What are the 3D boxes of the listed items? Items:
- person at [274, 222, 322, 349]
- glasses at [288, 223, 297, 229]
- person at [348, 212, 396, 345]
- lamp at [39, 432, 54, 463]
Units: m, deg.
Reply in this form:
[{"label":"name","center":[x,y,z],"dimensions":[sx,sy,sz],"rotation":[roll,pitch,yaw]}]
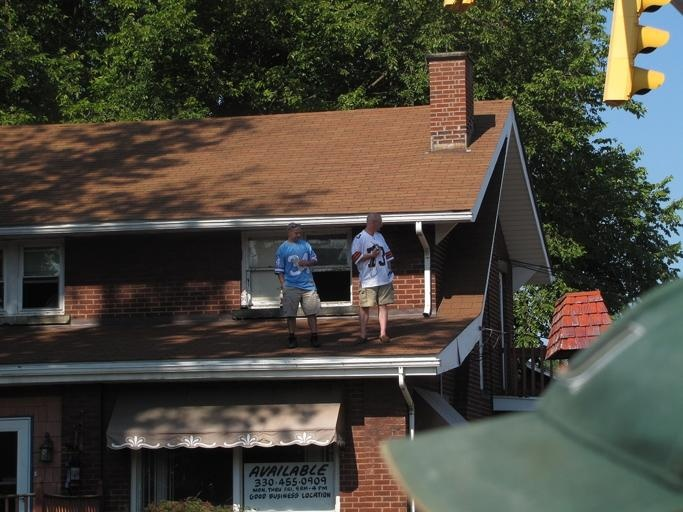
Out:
[{"label":"person","center":[-0.886,0.545,29.004],"dimensions":[0.851,2.538,0.823],"rotation":[-2,12,2]},{"label":"glasses","center":[-0.967,-0.646,28.721],"dimensions":[0.172,0.084,0.265],"rotation":[-6,14,-9]},{"label":"person","center":[0.646,0.431,28.816],"dimensions":[0.770,2.643,0.508],"rotation":[-3,12,0]},{"label":"lamp","center":[-6.079,3.975,29.512],"dimensions":[0.274,0.603,0.305],"rotation":[-2,13,5]}]
